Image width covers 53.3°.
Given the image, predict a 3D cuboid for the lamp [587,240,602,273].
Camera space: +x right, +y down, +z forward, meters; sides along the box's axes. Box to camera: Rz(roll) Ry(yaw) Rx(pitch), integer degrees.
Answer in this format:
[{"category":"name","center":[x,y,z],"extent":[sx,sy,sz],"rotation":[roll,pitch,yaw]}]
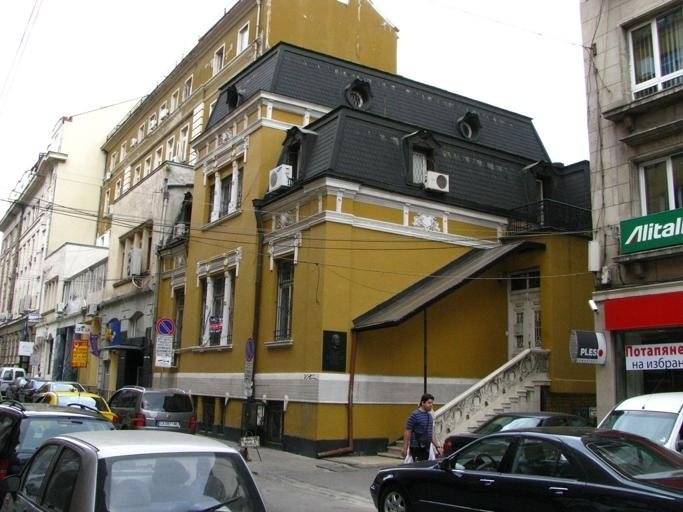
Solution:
[{"category":"lamp","center":[7.043,-0.014,18.803],"extent":[0.357,0.926,0.157],"rotation":[-9,-17,30]}]

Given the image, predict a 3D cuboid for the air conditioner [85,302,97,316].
[{"category":"air conditioner","center":[-14.955,3.167,40.489],"extent":[0.395,0.718,0.756],"rotation":[22,-30,-33]}]

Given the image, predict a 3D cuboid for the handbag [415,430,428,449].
[{"category":"handbag","center":[1.608,3.697,13.558],"extent":[0.235,0.291,0.333],"rotation":[-2,-14,28]}]

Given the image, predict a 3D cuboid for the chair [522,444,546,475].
[{"category":"chair","center":[2.789,2.967,9.931],"extent":[0.341,0.461,0.395],"rotation":[-4,-12,33]}]
